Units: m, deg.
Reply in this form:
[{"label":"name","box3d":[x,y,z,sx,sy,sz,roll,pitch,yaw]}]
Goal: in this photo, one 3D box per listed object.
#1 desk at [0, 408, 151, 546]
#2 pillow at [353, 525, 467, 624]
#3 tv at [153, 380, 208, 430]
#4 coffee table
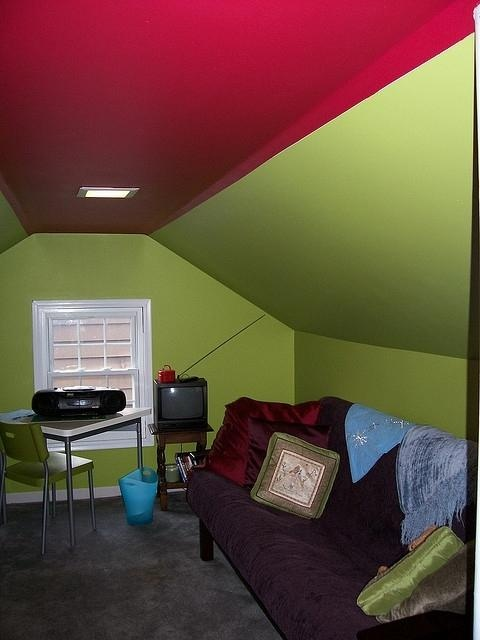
[{"label":"desk","box3d":[-1.266,1.073,3.570,0.822,0.831,0.899,4,8,31]},{"label":"pillow","box3d":[0.519,0.765,1.453,0.301,0.092,0.300,-43,-7,37]},{"label":"tv","box3d":[-0.496,0.587,3.894,0.552,0.480,0.330,-1,0,-11]},{"label":"coffee table","box3d":[-0.474,1.114,3.951,0.585,0.744,0.584,0,-1,-30]}]
